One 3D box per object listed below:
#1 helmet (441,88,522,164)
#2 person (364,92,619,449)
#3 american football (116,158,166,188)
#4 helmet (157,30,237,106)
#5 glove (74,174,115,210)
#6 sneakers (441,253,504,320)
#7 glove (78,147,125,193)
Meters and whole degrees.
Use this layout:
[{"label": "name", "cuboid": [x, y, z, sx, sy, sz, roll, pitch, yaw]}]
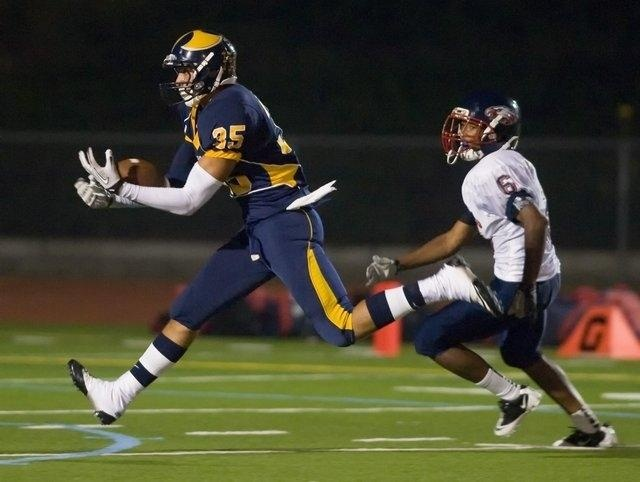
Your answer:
[{"label": "helmet", "cuboid": [0.938, -0.710, 6.121, 0.702, 0.348, 0.413, -3, 7, -7]}, {"label": "person", "cuboid": [0.982, 0.195, 5.790, 0.984, 2.050, 1.055, -10, 18, -20]}, {"label": "american football", "cuboid": [-1.137, -0.412, 6.078, 0.290, 0.078, 0.184, 9, 4, -26]}, {"label": "helmet", "cuboid": [-0.756, -1.070, 6.039, 0.710, 0.385, 0.457, -6, 10, -8]}, {"label": "glove", "cuboid": [-1.325, -0.288, 5.777, 0.249, 0.186, 0.107, 37, 15, 2]}, {"label": "sneakers", "cuboid": [0.893, 0.280, 5.584, 0.184, 0.150, 0.512, -28, 63, -37]}, {"label": "glove", "cuboid": [-1.281, -0.427, 5.750, 0.210, 0.261, 0.431, -6, 14, -12]}]
